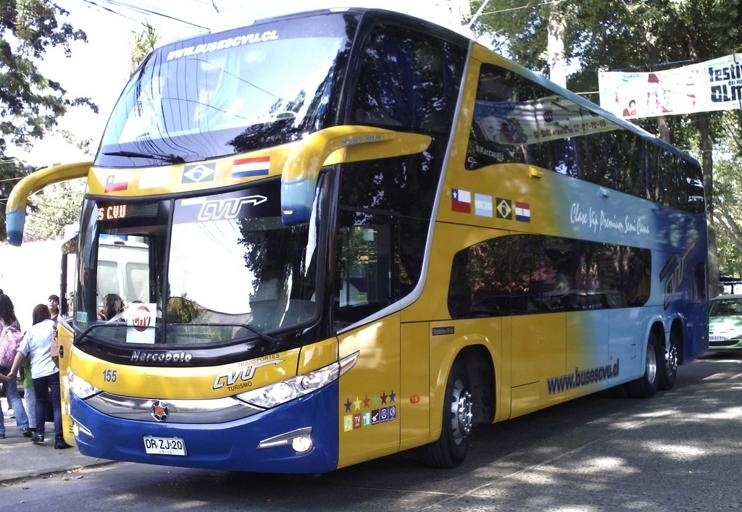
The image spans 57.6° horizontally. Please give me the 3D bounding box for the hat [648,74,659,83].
[{"bbox_3d":[8.776,-5.493,20.928,0.217,0.251,0.257,-4,11,1],"label":"hat"}]
